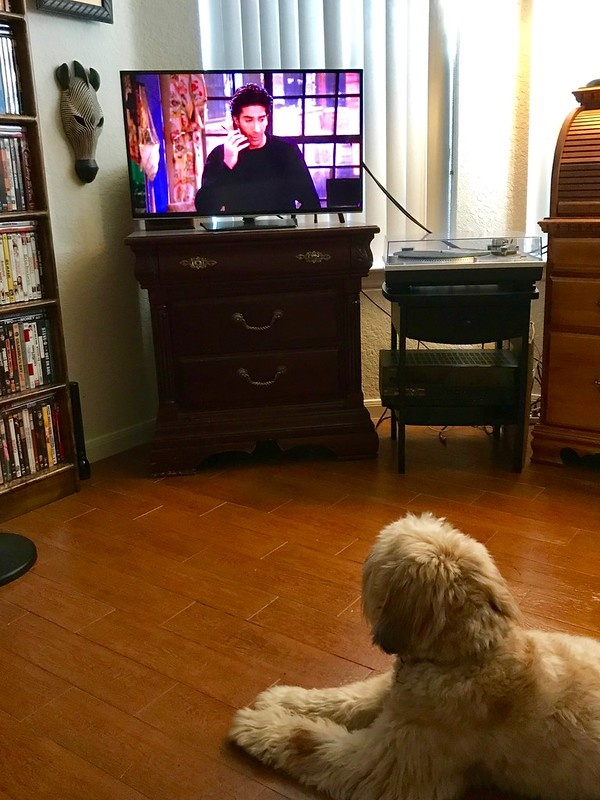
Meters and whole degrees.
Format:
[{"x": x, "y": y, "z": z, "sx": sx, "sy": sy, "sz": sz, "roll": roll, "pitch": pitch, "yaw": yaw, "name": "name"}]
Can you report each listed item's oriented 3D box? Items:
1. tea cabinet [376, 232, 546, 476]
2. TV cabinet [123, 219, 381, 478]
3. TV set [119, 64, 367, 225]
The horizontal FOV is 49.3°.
[{"x": 0.518, "y": -0.167, "z": 2.408, "sx": 0.608, "sy": 0.746, "sz": 0.505, "roll": 0, "pitch": 5, "yaw": -5, "name": "tea cabinet"}, {"x": -0.174, "y": -0.215, "z": 2.519, "sx": 0.931, "sy": 0.822, "sz": 0.490, "roll": -6, "pitch": 11, "yaw": -16, "name": "TV cabinet"}, {"x": -0.199, "y": -0.907, "z": 2.328, "sx": 0.714, "sy": 0.408, "sz": 0.011, "roll": -2, "pitch": 19, "yaw": -4, "name": "TV set"}]
